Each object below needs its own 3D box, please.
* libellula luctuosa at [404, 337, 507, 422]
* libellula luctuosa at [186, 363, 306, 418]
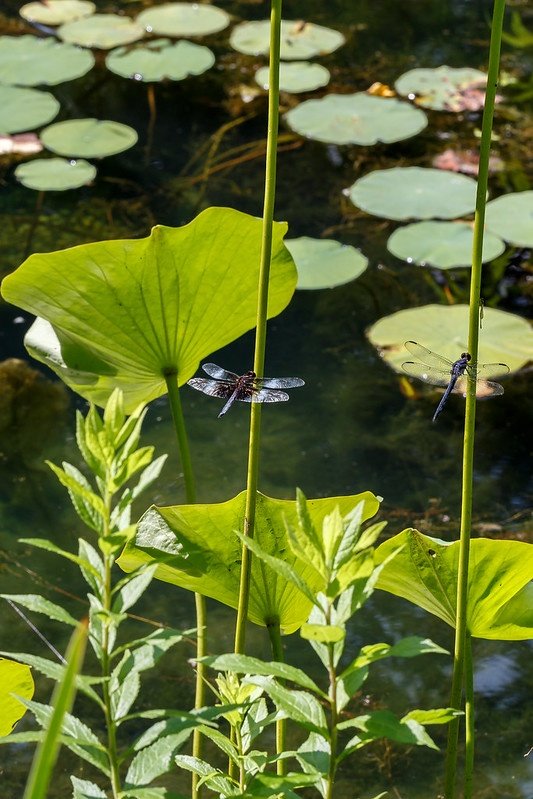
[{"bbox_3d":[0.559,-0.042,2.465,0.307,0.207,0.118,5,7,-36],"label":"libellula luctuosa"},{"bbox_3d":[-0.049,-0.034,1.783,0.250,0.056,0.150,9,30,34],"label":"libellula luctuosa"}]
